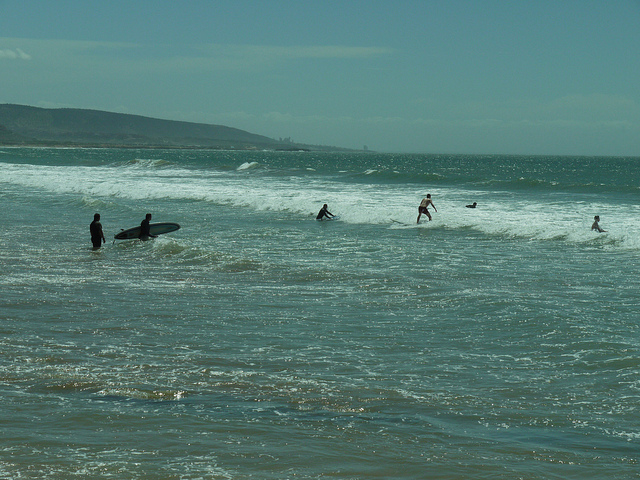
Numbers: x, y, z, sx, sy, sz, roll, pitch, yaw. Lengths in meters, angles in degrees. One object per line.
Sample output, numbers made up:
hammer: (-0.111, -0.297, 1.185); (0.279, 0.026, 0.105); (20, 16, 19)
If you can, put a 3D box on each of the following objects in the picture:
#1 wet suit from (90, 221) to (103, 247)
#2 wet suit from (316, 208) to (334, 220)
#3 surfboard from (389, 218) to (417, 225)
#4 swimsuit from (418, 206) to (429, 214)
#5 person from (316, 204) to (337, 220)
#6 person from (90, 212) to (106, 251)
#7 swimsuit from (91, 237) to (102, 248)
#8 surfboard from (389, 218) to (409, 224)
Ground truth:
wet suit: (-6.788, -0.210, 41.856); (0.336, 0.788, 0.548); (-1, 2, -10)
wet suit: (0.239, -1.017, 51.087); (0.524, 0.415, 0.863); (1, 2, 33)
surfboard: (3.033, -0.711, 50.129); (0.715, 0.199, 1.380); (-1, 2, -13)
swimsuit: (3.769, -1.141, 49.941); (0.298, 0.176, 0.271); (0, 9, -18)
person: (0.157, -1.112, 51.067); (0.896, 0.667, 0.368); (1, 48, -4)
person: (-6.766, -0.265, 41.889); (0.387, 1.096, 0.913); (-1, 2, -9)
swimsuit: (-6.735, 0.025, 41.869); (0.309, 0.282, 0.313); (9, 11, 44)
surfboard: (2.808, -0.747, 50.330); (0.221, 0.134, 0.931); (-2, 2, -27)
